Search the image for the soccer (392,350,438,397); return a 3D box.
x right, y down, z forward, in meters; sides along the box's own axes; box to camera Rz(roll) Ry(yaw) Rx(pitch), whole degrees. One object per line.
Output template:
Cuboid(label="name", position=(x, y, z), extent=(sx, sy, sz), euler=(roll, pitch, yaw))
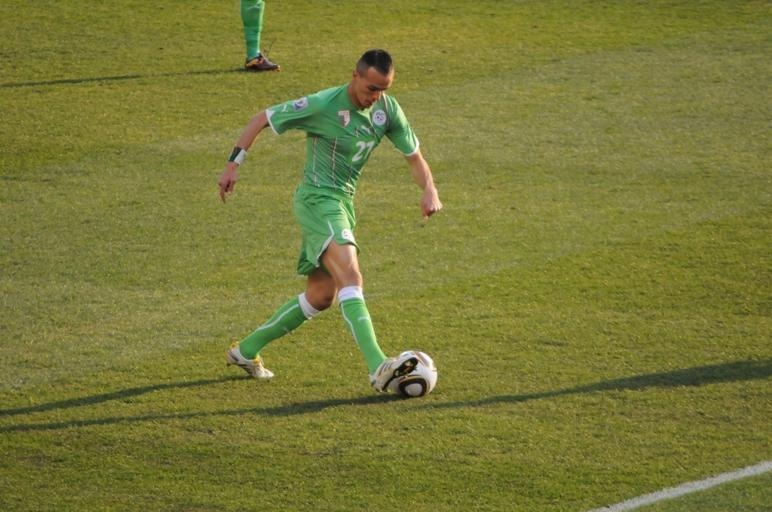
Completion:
Cuboid(label="soccer", position=(0.244, 0.939, 12.042), extent=(0.411, 0.337, 0.319), euler=(-3, -8, 26))

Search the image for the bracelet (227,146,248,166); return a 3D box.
Cuboid(label="bracelet", position=(-1.193, -0.818, 12.225), extent=(0.137, 0.134, 0.157), euler=(29, 13, -23))

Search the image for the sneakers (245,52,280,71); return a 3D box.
Cuboid(label="sneakers", position=(-1.361, -2.157, 16.557), extent=(0.359, 0.160, 0.164), euler=(-4, 19, -15))
